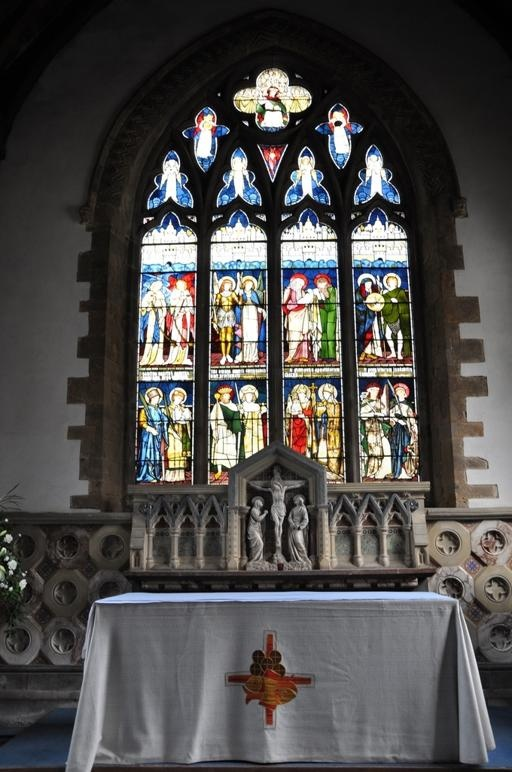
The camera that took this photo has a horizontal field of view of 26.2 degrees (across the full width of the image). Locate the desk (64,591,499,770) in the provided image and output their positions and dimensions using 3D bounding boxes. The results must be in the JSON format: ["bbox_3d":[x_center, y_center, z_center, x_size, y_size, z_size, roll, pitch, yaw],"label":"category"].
[{"bbox_3d":[0.091,1.542,5.721,2.093,0.842,0.497,0,-6,-8],"label":"desk"}]
